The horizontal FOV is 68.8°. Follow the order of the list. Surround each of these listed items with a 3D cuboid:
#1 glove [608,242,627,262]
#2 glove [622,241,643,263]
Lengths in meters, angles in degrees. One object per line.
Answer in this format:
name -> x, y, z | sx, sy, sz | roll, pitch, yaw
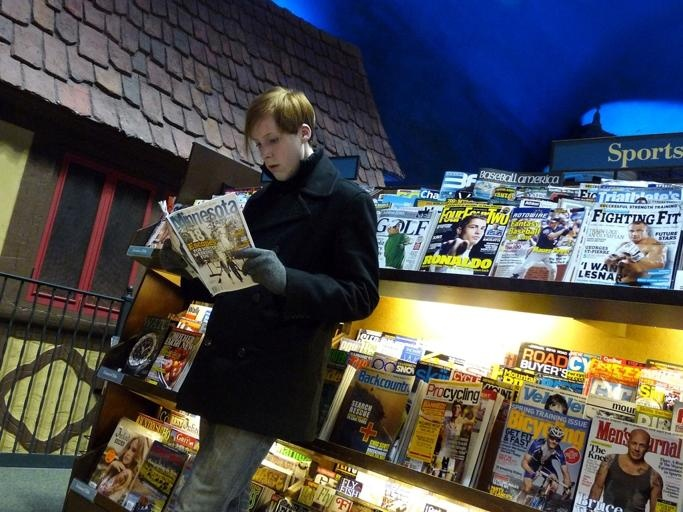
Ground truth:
glove -> 1.113, -0.011, 1.971 | 0.037, 0.064, 0.085 | 35, -35, -24
glove -> 1.148, -0.015, 1.958 | 0.050, 0.075, 0.019 | -29, -30, 1
